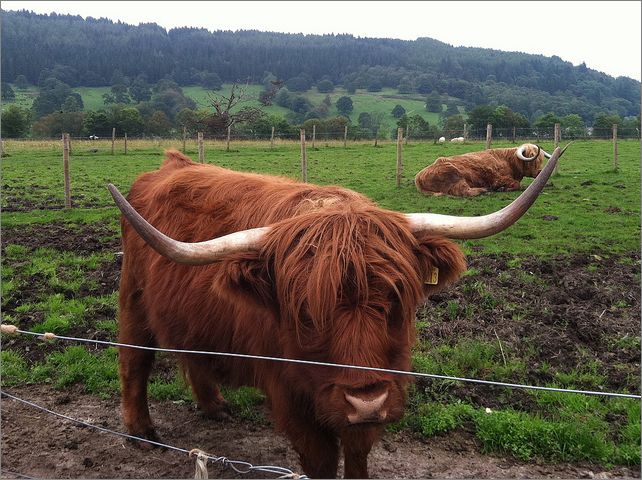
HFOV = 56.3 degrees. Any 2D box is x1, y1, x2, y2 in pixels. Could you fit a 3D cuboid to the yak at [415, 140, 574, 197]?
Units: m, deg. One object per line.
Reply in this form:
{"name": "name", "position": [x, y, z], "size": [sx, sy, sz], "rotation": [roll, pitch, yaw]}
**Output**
{"name": "yak", "position": [4.687, -1.904, 16.819], "size": [4.236, 1.776, 2.227], "rotation": [-7, 11, -20]}
